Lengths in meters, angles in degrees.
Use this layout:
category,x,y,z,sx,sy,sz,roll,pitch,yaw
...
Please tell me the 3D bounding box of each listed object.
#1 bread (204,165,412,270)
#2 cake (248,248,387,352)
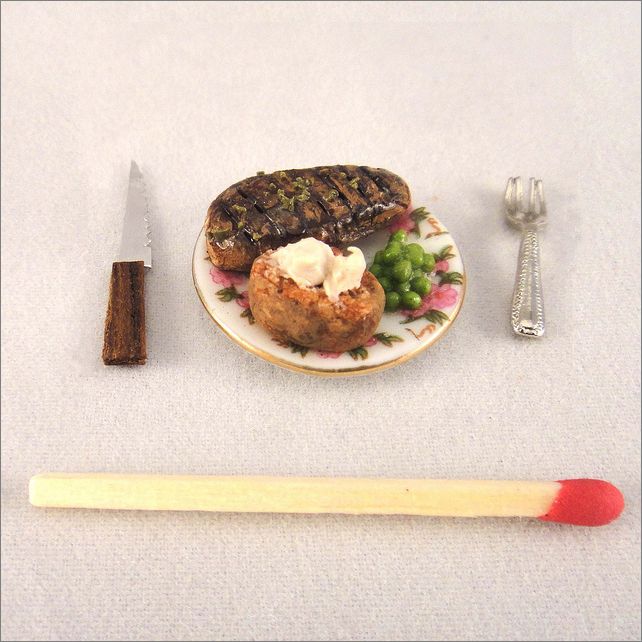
category,x,y,z,sx,sy,sz,roll,pitch,yaw
bread,-0.036,-0.367,2.534,0.639,0.298,0.183,-13,-40,-15
cake,-0.029,-0.031,2.228,0.293,0.133,0.345,-10,32,-26
